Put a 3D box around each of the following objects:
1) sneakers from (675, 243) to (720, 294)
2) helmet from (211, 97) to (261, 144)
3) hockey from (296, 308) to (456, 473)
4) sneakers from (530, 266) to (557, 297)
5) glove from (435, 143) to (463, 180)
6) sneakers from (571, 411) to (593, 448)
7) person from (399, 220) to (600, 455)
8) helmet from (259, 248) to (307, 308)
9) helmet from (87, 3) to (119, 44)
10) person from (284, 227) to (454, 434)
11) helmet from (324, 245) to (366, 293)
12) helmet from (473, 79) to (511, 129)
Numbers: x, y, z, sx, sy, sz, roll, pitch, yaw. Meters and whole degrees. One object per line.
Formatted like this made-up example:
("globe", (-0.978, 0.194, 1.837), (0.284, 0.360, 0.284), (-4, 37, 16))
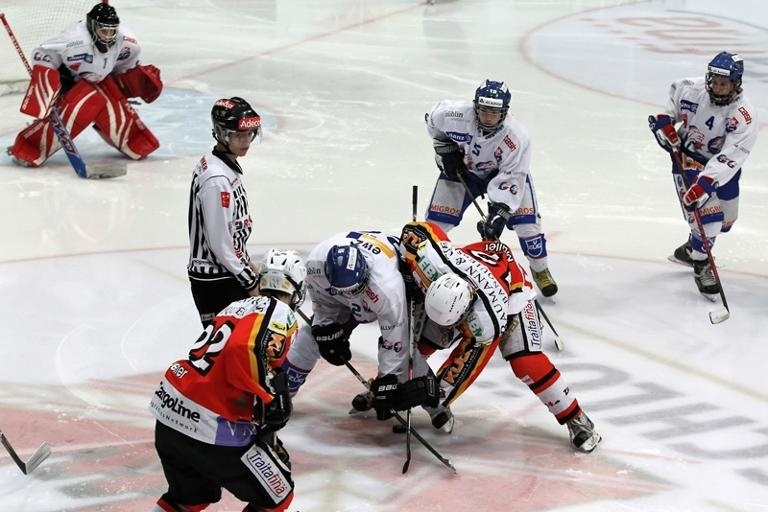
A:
("sneakers", (2.733, 0.123, 6.874), (0.171, 0.228, 0.478), (-29, 54, 6))
("helmet", (-0.976, -0.897, 5.082), (0.358, 0.250, 0.271), (11, 25, 19))
("hockey", (-0.042, 0.879, 5.327), (1.607, 0.521, 0.052), (41, 18, 34))
("sneakers", (1.393, 0.243, 6.706), (0.125, 0.153, 0.345), (-35, 44, 8))
("glove", (0.601, -0.814, 6.742), (0.126, 0.282, 0.230), (-24, 27, -28))
("sneakers", (1.283, 1.124, 5.052), (0.115, 0.125, 0.244), (-17, 46, 18))
("person", (0.777, 0.616, 5.350), (1.338, 1.067, 0.713), (32, 61, 23))
("helmet", (-0.604, 0.138, 4.589), (0.289, 0.301, 0.354), (3, -3, 11))
("helmet", (-2.878, -2.419, 8.041), (0.370, 0.385, 0.417), (-11, 66, -23))
("person", (-0.105, 0.461, 5.200), (1.175, 1.402, 0.866), (19, 38, 30))
("helmet", (-0.205, 0.073, 4.886), (0.271, 0.281, 0.244), (-10, 27, 3))
("helmet", (0.891, -1.255, 6.318), (0.352, 0.357, 0.361), (9, 55, 11))
